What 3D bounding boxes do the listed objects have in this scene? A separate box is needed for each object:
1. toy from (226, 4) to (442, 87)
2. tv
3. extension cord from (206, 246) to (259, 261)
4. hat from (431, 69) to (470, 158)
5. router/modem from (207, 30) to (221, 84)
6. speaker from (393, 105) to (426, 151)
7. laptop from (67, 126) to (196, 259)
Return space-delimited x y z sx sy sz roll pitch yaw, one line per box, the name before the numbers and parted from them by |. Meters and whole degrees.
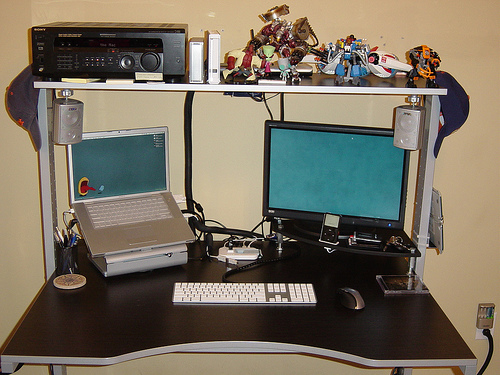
toy | 0.327 -0.548 1.866 0.695 0.287 0.435 3 16 0
tv | 0.395 -0.056 2.084 0.640 0.460 0.065 5 17 11
extension cord | -0.051 0.306 2.079 0.158 0.028 0.085 1 16 1
hat | 0.877 -0.328 1.996 0.172 0.366 0.088 -6 16 -18
router/modem | -0.142 -0.505 1.748 0.051 0.199 0.045 -3 15 -6
speaker | 0.664 -0.255 1.874 0.118 0.173 0.117 2 30 14
laptop | -0.562 0.008 2.044 0.551 0.396 0.565 -8 46 -22
